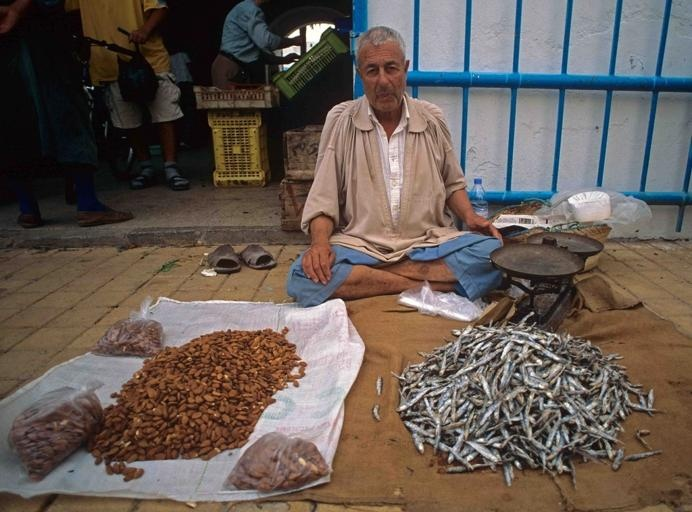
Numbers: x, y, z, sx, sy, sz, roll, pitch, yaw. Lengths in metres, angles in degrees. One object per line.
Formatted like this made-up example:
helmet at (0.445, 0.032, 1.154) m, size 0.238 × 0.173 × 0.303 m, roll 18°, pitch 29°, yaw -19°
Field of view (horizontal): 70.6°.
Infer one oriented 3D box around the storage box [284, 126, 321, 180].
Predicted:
storage box at (-0.447, -1.001, 4.812) m, size 0.367 × 0.472 × 0.409 m, roll 1°, pitch 17°, yaw -4°

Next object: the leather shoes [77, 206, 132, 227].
leather shoes at (-2.501, -0.428, 5.118) m, size 0.542 × 0.153 × 0.202 m, roll -10°, pitch 16°, yaw -36°

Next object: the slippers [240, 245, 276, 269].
slippers at (-0.787, 0.008, 4.458) m, size 0.299 × 0.129 × 0.408 m, roll -9°, pitch 20°, yaw -23°

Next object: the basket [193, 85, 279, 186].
basket at (-1.392, -1.562, 6.482) m, size 1.034 × 1.290 × 0.409 m, roll -4°, pitch 22°, yaw -7°
